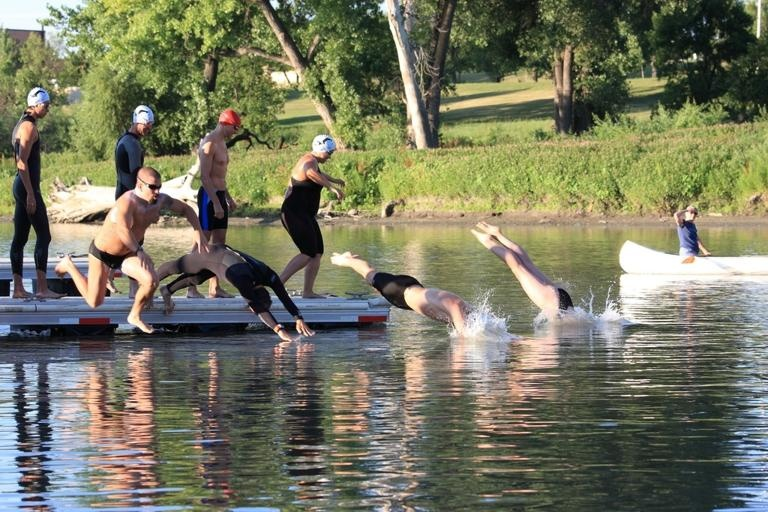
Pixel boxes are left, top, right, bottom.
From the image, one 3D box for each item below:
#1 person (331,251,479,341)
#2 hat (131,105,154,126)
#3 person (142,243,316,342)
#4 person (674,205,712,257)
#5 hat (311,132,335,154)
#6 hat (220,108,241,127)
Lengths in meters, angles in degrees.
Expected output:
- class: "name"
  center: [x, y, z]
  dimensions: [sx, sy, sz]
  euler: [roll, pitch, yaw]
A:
- class: "person"
  center: [0.487, 0.648, 27.299]
  dimensions: [2.424, 0.452, 1.417]
  euler: [25, 23, 27]
- class: "hat"
  center: [-4.496, -2.638, 27.156]
  dimensions: [0.351, 0.349, 0.325]
  euler: [-5, 1, -17]
- class: "person"
  center: [-2.901, 0.488, 26.875]
  dimensions: [3.812, 1.316, 0.982]
  euler: [8, 11, 37]
- class: "person"
  center: [7.048, -0.554, 33.256]
  dimensions: [0.543, 0.994, 1.393]
  euler: [-5, 1, 11]
- class: "hat"
  center: [-1.164, -2.184, 27.933]
  dimensions: [0.441, 0.341, 0.310]
  euler: [-9, 31, 2]
- class: "hat"
  center: [-2.850, -2.628, 27.677]
  dimensions: [0.307, 0.317, 0.413]
  euler: [39, 22, 31]
